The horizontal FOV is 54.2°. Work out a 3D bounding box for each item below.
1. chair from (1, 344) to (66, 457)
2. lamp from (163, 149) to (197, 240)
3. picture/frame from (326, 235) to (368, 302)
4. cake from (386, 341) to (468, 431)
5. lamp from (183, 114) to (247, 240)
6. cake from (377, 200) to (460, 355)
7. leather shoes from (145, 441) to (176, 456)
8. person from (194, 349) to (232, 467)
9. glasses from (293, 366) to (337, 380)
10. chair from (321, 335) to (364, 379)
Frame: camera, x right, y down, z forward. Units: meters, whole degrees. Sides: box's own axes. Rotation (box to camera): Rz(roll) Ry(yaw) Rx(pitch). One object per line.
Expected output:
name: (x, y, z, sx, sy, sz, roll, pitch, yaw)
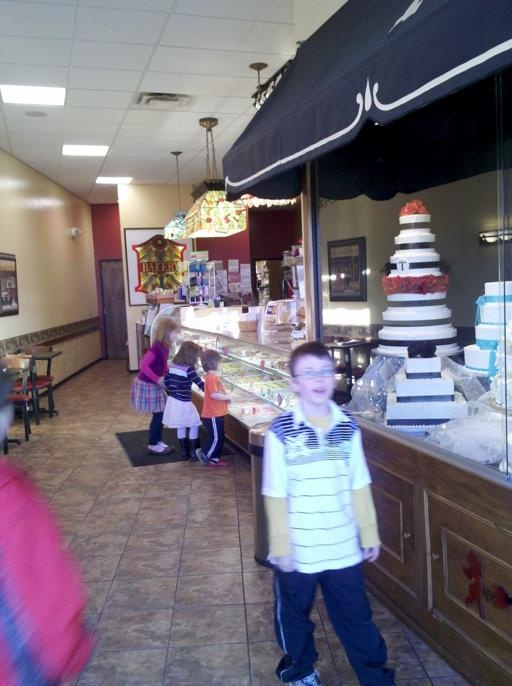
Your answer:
chair: (-2.661, 0.691, 5.991, 0.666, 0.801, 1.166, 0, 8, -3)
lamp: (-1.289, -2.494, 8.364, 0.762, 1.412, 0.743, 0, 15, 4)
picture/frame: (0.574, -0.469, 3.206, 0.042, 0.534, 0.514, 1, 6, 34)
cake: (0.691, 0.175, 2.213, 0.369, 0.313, 0.334, -1, 6, 2)
lamp: (-0.487, -2.186, 6.445, 0.825, 1.197, 0.847, -19, 16, -22)
cake: (0.777, -0.347, 2.454, 0.382, 0.796, 0.553, -1, 4, 19)
leather shoes: (-0.994, 1.092, 5.193, 0.294, 0.199, 0.097, -6, 19, -8)
person: (-0.379, 0.607, 4.530, 0.303, 1.105, 0.455, -4, 4, -18)
glasses: (0.183, 0.094, 1.572, 0.124, 0.034, 0.046, -2, 4, 4)
chair: (0.475, 0.060, 2.726, 0.235, 0.209, 0.228, -15, 20, -40)
